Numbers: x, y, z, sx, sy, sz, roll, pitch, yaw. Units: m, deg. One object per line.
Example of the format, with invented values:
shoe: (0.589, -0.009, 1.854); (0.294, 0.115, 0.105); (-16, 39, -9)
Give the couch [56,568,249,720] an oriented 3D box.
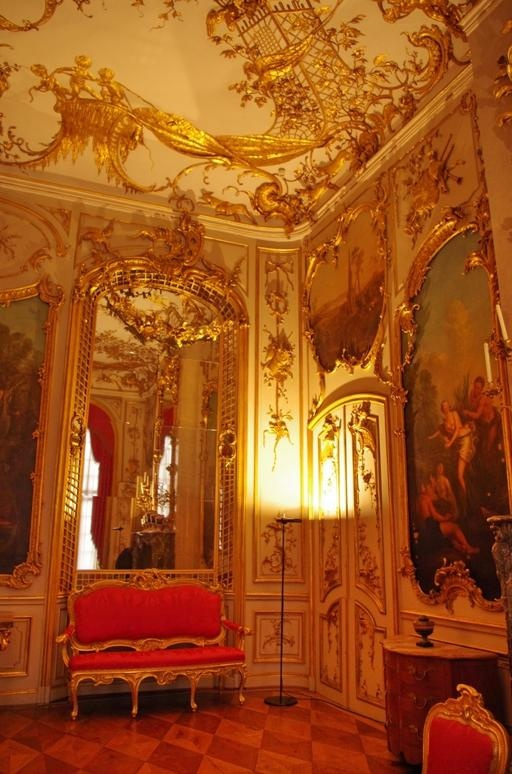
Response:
couch: (-0.847, 2.159, 5.244); (1.602, 1.038, 0.689); (9, -15, -28)
